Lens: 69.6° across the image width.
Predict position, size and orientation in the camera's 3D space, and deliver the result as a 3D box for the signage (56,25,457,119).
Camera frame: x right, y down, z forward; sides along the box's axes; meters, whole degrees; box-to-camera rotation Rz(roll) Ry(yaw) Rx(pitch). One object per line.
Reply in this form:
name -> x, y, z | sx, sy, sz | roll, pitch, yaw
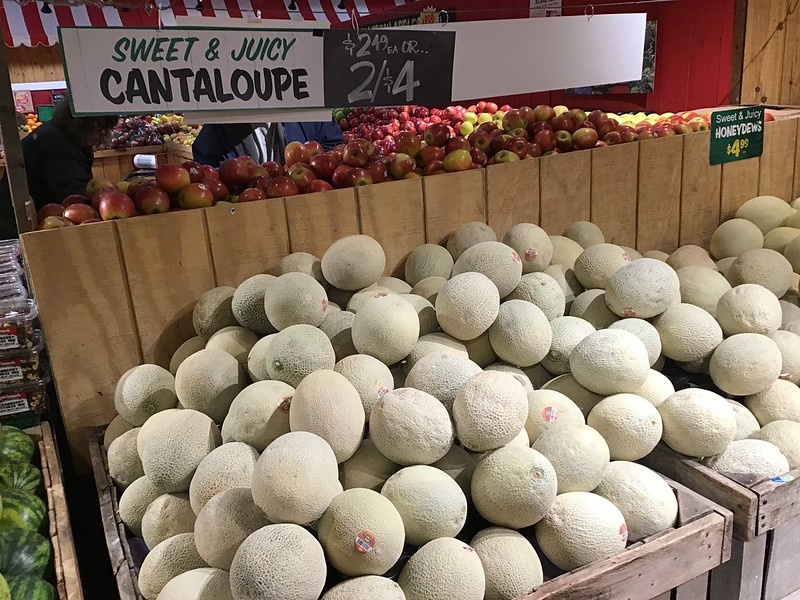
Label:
signage -> -0.673, -1.021, 2.577 | 1.467, 0.425, 0.163 | -12, 23, -16
